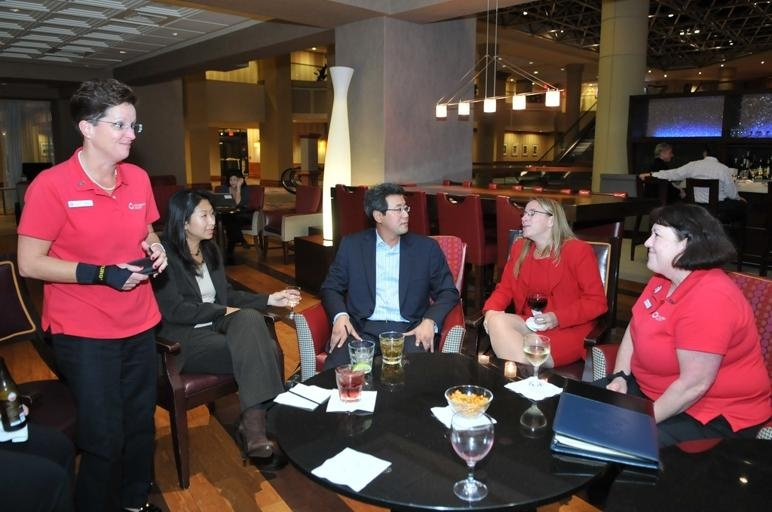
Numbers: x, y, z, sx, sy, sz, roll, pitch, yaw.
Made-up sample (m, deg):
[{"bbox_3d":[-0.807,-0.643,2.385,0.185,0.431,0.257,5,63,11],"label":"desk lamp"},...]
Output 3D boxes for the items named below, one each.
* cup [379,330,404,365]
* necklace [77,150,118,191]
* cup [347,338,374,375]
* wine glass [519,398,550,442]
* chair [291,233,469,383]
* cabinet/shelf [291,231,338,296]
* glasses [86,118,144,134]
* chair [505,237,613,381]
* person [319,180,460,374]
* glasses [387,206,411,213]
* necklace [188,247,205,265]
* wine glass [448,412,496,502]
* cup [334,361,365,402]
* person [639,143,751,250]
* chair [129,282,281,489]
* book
[{"bbox_3d":[0.030,0.457,2.577,0.147,0.171,0.152,0,3,0],"label":"cup"},{"bbox_3d":[-1.317,-0.382,2.365,0.156,0.203,0.073,-19,18,4],"label":"necklace"},{"bbox_3d":[-0.111,0.486,2.452,0.134,0.155,0.146,0,-2,0],"label":"cup"},{"bbox_3d":[0.630,0.698,2.139,0.086,0.099,0.088,4,22,21],"label":"wine glass"},{"bbox_3d":[-0.086,0.347,3.522,1.013,1.334,1.131,0,-2,20],"label":"chair"},{"bbox_3d":[-0.764,0.076,5.501,0.412,0.606,0.573,15,15,9],"label":"cabinet/shelf"},{"bbox_3d":[-1.190,-0.588,2.300,0.104,0.061,0.224,4,12,25],"label":"glasses"},{"bbox_3d":[1.117,0.257,3.463,0.730,0.900,0.714,-12,11,-31],"label":"chair"},{"bbox_3d":[-0.141,0.013,3.544,0.868,1.480,1.116,3,4,3],"label":"person"},{"bbox_3d":[0.101,-0.308,3.231,0.085,0.040,0.202,5,13,31],"label":"glasses"},{"bbox_3d":[-1.161,-0.001,3.140,0.069,0.091,0.040,-3,-20,-25],"label":"necklace"},{"bbox_3d":[0.325,0.717,1.891,0.145,0.259,0.275,1,11,12],"label":"wine glass"},{"bbox_3d":[-0.155,0.556,2.270,0.142,0.123,0.130,-2,14,0],"label":"cup"},{"bbox_3d":[3.898,-0.761,6.725,0.710,0.798,1.125,24,18,2],"label":"person"},{"bbox_3d":[-0.875,0.774,2.938,0.661,0.930,0.546,5,8,44],"label":"chair"},{"bbox_3d":[0.848,0.681,1.966,0.245,0.066,0.251,10,18,14],"label":"book"}]
